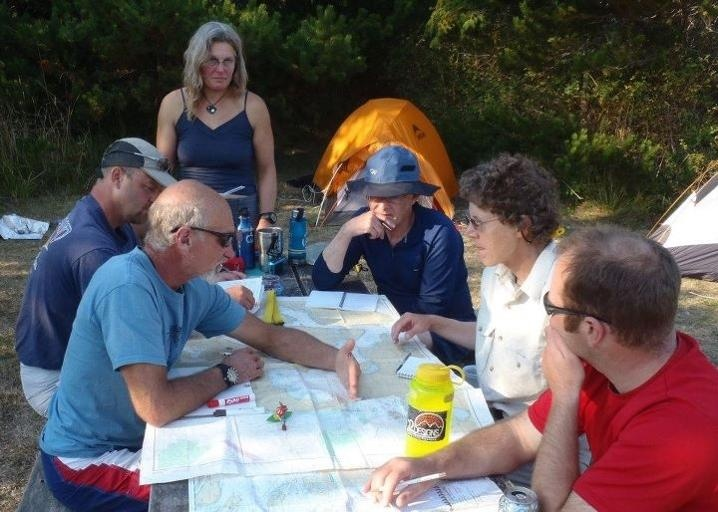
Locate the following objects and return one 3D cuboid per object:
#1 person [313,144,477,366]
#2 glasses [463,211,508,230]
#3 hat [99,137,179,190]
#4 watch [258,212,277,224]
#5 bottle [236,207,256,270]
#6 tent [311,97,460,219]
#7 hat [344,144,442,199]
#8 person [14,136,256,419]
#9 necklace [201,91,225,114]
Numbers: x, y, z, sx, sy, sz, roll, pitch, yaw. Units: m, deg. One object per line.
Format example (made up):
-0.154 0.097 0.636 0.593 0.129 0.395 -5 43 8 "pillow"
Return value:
0.305 0.202 4.609 1.085 1.910 0.886 -13 18 -29 "person"
0.724 -0.197 3.594 0.166 0.055 0.169 3 12 -4 "glasses"
-1.366 -0.583 3.954 0.481 0.293 0.381 7 4 4 "hat"
-0.722 -0.294 4.968 0.100 0.064 0.093 -1 7 -2 "watch"
-0.843 -0.129 4.754 0.128 0.469 0.134 1 28 -1 "bottle"
0.427 -1.387 10.810 2.041 1.551 2.313 2 27 5 "tent"
0.279 -0.601 4.498 0.622 0.351 0.659 -1 2 -2 "hat"
-1.399 0.210 3.868 1.217 1.725 1.136 9 13 5 "person"
-1.137 -1.173 4.897 0.143 0.185 0.024 6 -14 1 "necklace"
